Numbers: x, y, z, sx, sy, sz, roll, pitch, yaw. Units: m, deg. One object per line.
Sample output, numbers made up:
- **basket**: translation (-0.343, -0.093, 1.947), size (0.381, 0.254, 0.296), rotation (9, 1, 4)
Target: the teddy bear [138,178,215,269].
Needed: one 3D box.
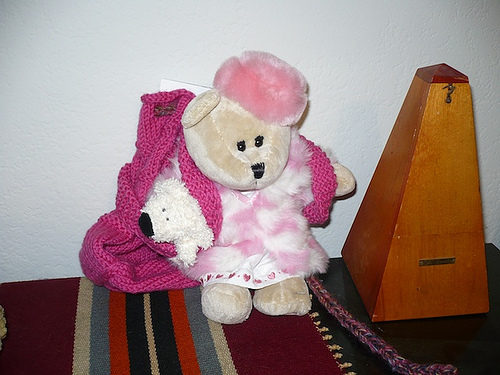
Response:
- **teddy bear**: translation (-0.154, 0.075, 1.004), size (0.148, 0.121, 0.132), rotation (20, 57, 29)

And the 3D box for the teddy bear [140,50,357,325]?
- **teddy bear**: translation (-0.025, 0.001, 1.031), size (0.469, 0.502, 0.321), rotation (-8, 32, -12)
